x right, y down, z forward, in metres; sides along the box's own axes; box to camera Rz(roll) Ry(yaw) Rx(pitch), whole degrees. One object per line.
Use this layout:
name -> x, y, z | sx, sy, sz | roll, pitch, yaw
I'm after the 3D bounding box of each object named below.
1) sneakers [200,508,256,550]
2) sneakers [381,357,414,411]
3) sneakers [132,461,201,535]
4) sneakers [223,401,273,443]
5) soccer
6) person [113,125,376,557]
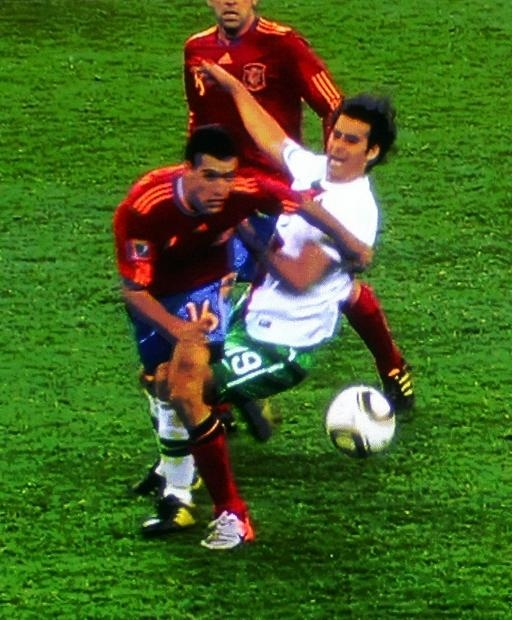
sneakers -> -0.094, 0.817, 4.841 | 0.116, 0.087, 0.206 | 1, 7, 19
sneakers -> 0.583, 0.312, 5.331 | 0.116, 0.206, 0.081 | -28, 45, -5
sneakers -> -0.321, 0.734, 5.040 | 0.082, 0.268, 0.232 | -11, 40, -40
sneakers -> -0.016, 0.440, 5.163 | 0.159, 0.212, 0.054 | -6, 58, 5
soccer -> 0.411, 0.450, 5.201 | 0.286, 0.316, 0.262 | -6, 51, 6
person -> -0.236, 0.044, 4.831 | 0.604, 1.438, 0.893 | 32, 56, 23
